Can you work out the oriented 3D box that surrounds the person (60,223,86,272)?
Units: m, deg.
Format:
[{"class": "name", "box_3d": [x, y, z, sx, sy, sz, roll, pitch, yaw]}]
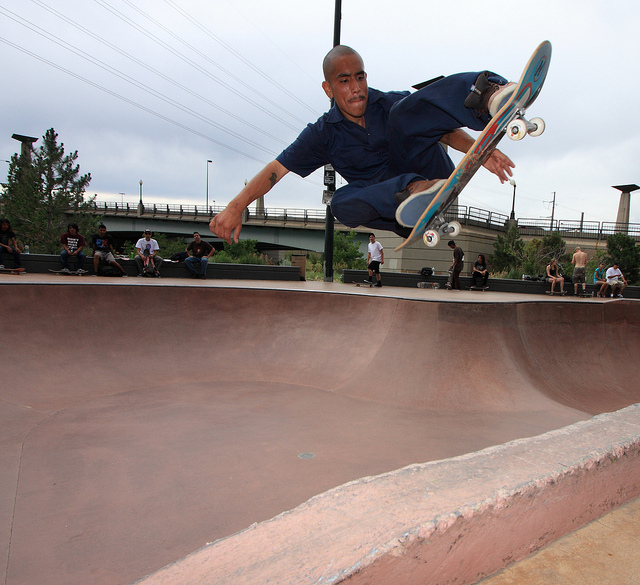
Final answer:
[{"class": "person", "box_3d": [-4.433, -0.785, 9.279, 0.395, 0.863, 0.476, -1, 7, -26]}]

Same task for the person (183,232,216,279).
[{"class": "person", "box_3d": [-2.471, -0.737, 10.463, 0.528, 0.974, 0.577, -5, 0, 32]}]

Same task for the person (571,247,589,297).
[{"class": "person", "box_3d": [6.242, -0.468, 12.417, 0.328, 1.152, 1.014, 4, 7, 26]}]

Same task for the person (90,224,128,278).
[{"class": "person", "box_3d": [-3.961, -0.779, 9.702, 0.601, 0.932, 1.017, -1, 7, -24]}]

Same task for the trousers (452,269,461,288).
[{"class": "trousers", "box_3d": [3.239, -0.310, 12.291, 0.161, 0.444, 0.363, 3, 6, 16]}]

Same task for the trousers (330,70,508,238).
[{"class": "trousers", "box_3d": [0.670, -1.035, 3.815, 0.946, 0.607, 1.475, -18, -8, -41]}]

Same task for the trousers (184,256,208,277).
[{"class": "trousers", "box_3d": [-2.493, -0.519, 10.434, 0.411, 0.409, 0.098, 3, 1, -9]}]

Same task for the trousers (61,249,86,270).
[{"class": "trousers", "box_3d": [-4.401, -0.606, 9.433, 0.467, 0.312, 0.500, 1, 16, -13]}]

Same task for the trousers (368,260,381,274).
[{"class": "trousers", "box_3d": [1.243, -0.563, 11.459, 0.353, 0.215, 0.348, 12, -29, 14]}]

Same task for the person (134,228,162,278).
[{"class": "person", "box_3d": [-3.322, -0.745, 10.076, 0.502, 0.912, 0.915, 0, 6, -18]}]

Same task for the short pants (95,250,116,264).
[{"class": "short pants", "box_3d": [-3.908, -0.648, 9.457, 0.312, 0.229, 0.179, 0, 6, -19]}]

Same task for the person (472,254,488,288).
[{"class": "person", "box_3d": [4.055, -0.528, 13.090, 0.370, 0.818, 1.156, 3, 6, 17]}]

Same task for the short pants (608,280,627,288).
[{"class": "short pants", "box_3d": [7.346, -0.197, 12.856, 0.343, 0.197, 0.233, 5, 7, 30]}]

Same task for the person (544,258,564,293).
[{"class": "person", "box_3d": [5.798, -0.412, 12.721, 0.340, 0.800, 0.853, 3, 6, 17]}]
